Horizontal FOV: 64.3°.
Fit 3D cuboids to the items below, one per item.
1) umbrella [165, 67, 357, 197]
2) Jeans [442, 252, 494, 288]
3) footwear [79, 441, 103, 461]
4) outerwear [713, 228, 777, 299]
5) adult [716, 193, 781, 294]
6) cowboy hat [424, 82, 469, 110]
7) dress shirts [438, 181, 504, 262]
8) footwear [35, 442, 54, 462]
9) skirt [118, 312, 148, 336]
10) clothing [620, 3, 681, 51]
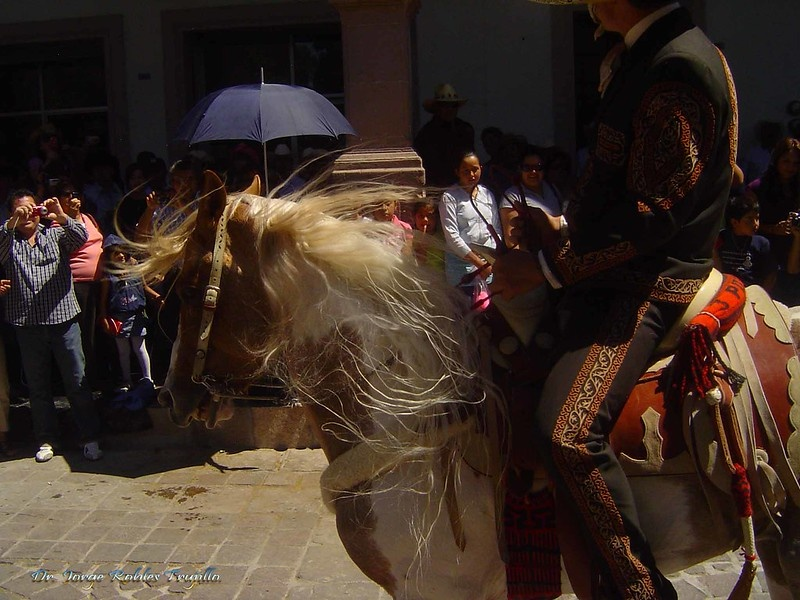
[{"bbox_3d":[-1.135,-1.072,5.741,1.489,1.582,1.526,-6,11,-32],"label":"umbrella"},{"bbox_3d":[0.287,-0.147,2.956,0.235,0.088,0.173,31,-20,-21],"label":"Jeans"},{"bbox_3d":[-2.781,1.356,5.779,0.118,0.115,0.208,-8,30,-29],"label":"footwear"},{"bbox_3d":[2.338,-0.269,4.328,0.494,0.524,0.286,-7,10,-17],"label":"outerwear"},{"bbox_3d":[2.727,-0.394,5.084,0.453,0.897,0.457,10,15,42],"label":"adult"},{"bbox_3d":[0.461,-2.162,6.761,0.346,0.268,0.355,-5,12,-15],"label":"cowboy hat"},{"bbox_3d":[0.533,-0.582,4.606,0.376,0.533,0.274,-7,-5,-10],"label":"dress shirts"},{"bbox_3d":[-3.208,1.369,5.764,0.105,0.068,0.181,6,22,-22],"label":"footwear"},{"bbox_3d":[-2.556,0.247,6.227,0.313,0.324,0.195,0,-6,-9],"label":"skirt"},{"bbox_3d":[0.888,-0.979,2.275,0.156,0.039,0.167,-40,-5,-33],"label":"clothing"}]
